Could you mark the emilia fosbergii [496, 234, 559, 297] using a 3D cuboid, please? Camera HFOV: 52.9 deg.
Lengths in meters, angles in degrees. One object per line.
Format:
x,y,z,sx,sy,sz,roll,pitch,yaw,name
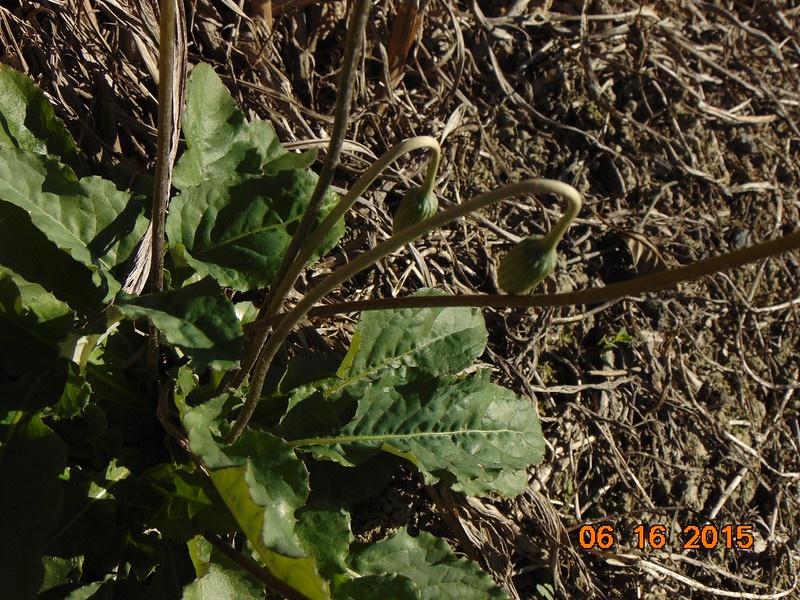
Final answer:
0.289,-0.083,1.838,0.095,0.144,0.052,48,11,-4,emilia fosbergii
